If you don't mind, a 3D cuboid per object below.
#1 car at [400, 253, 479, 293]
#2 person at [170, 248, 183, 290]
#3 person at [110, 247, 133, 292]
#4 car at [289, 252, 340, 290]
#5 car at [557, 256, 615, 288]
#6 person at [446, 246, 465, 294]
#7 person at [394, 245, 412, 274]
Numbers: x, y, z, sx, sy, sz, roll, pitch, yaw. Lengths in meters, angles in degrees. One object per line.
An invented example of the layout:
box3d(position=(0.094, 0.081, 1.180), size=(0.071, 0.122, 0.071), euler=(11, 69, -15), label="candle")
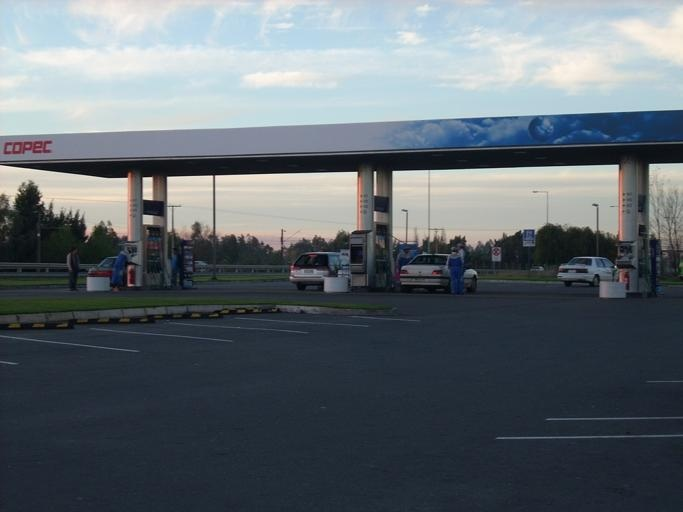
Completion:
box3d(position=(3.781, 0.680, 36.769), size=(1.440, 1.026, 2.976), euler=(0, 3, 28), label="car")
box3d(position=(-6.883, 0.486, 39.299), size=(0.398, 1.683, 0.661), euler=(-1, -2, 25), label="person")
box3d(position=(-8.736, 0.509, 37.398), size=(0.659, 1.657, 1.109), euler=(0, -2, -14), label="person")
box3d(position=(-1.001, 0.521, 39.552), size=(1.198, 0.931, 2.172), euler=(-1, 6, 14), label="car")
box3d(position=(12.772, 0.965, 48.933), size=(1.709, 1.143, 3.551), euler=(1, 4, 37), label="car")
box3d(position=(4.291, 0.518, 35.692), size=(0.577, 1.812, 1.171), euler=(0, -2, 7), label="person")
box3d(position=(3.398, 0.079, 52.310), size=(0.953, 0.685, 1.548), euler=(1, 7, 9), label="person")
